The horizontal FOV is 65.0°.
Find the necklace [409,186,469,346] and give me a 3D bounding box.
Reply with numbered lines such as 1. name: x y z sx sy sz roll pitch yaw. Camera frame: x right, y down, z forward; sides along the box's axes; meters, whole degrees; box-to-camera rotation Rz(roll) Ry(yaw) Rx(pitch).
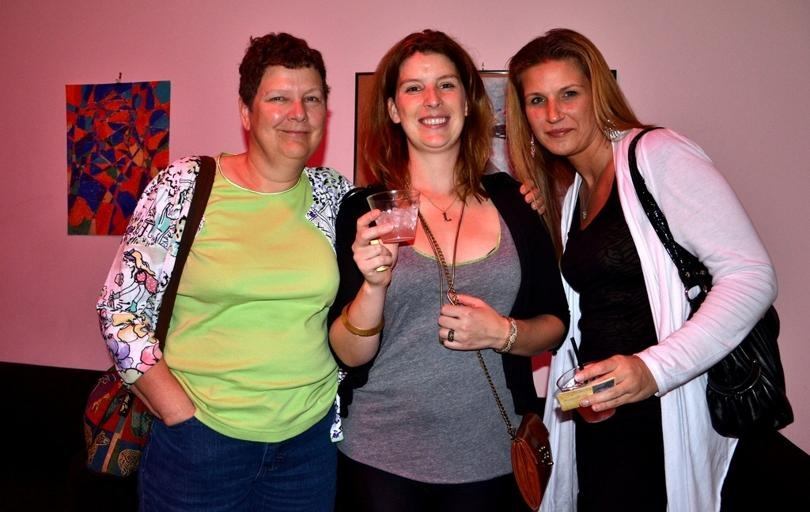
1. necklace: 0.216 0.017 3.389 0.230 0.675 0.056 -1 -27 -13

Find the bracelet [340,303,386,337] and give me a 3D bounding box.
1. bracelet: -0.232 0.351 3.338 0.214 0.142 0.098 2 14 18

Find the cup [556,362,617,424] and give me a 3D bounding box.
1. cup: 0.935 0.741 3.335 0.248 0.257 0.320 6 7 27

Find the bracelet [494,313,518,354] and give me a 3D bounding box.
1. bracelet: 0.548 0.424 3.324 0.057 0.155 0.139 19 -17 -34

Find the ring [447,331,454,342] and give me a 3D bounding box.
1. ring: 0.237 0.423 3.275 0.037 0.048 0.049 -1 11 4

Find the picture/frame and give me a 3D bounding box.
1. picture/frame: 0.496 -0.728 3.680 0.890 0.583 0.019 0 2 8

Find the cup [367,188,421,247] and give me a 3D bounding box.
1. cup: -0.060 -0.186 3.151 0.266 0.233 0.270 -1 -2 0

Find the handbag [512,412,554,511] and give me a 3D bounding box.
1. handbag: 0.678 1.108 3.378 0.177 0.506 0.237 5 16 31

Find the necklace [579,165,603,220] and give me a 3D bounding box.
1. necklace: 1.089 -0.344 3.748 0.062 0.245 0.186 8 7 -2
